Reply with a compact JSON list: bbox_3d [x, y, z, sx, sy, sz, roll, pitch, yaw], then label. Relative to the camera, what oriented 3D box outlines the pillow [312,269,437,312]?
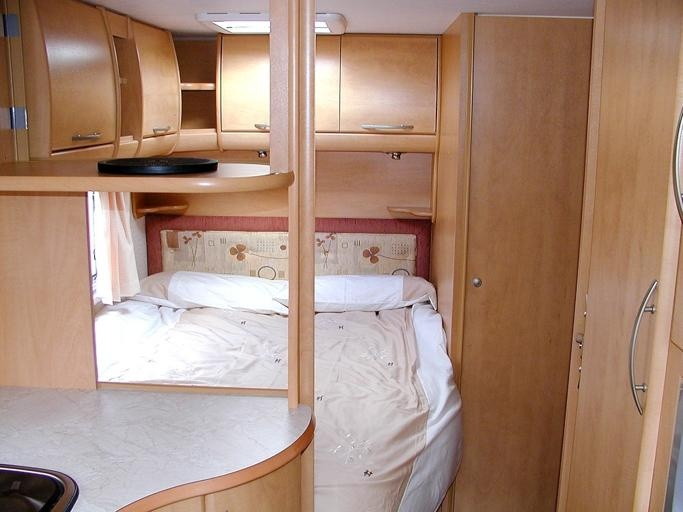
[{"bbox_3d":[0.195,0.224,3.512,0.615,0.224,0.138,-1,-24,0],"label":"pillow"}]

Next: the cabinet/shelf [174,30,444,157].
[{"bbox_3d":[-0.146,-0.963,3.363,1.432,0.678,0.282,-1,10,-5],"label":"cabinet/shelf"}]
